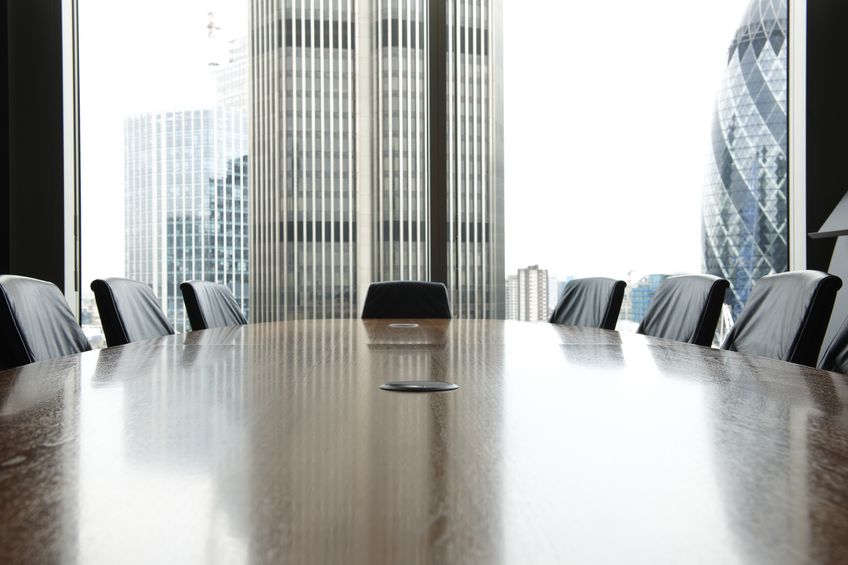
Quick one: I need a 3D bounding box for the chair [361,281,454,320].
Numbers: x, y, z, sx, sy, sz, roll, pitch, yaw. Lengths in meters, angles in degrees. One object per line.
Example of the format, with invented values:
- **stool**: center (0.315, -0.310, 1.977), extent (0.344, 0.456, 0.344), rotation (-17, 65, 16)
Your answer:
- **chair**: center (-0.112, 0.112, 4.570), extent (0.531, 0.217, 0.189), rotation (1, 4, -7)
